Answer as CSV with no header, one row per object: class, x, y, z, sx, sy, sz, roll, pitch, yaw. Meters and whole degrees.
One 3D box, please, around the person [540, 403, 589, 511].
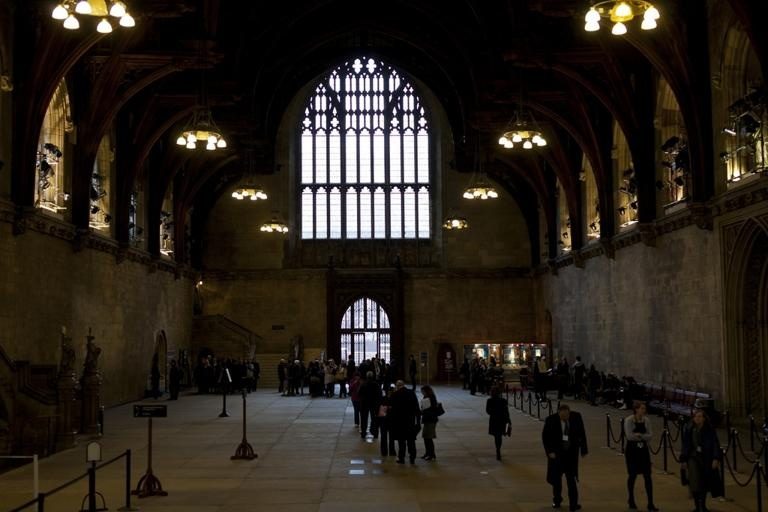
person,4.449,5.007,23.749,0.982,2.555,0.621,6,-14,-24
